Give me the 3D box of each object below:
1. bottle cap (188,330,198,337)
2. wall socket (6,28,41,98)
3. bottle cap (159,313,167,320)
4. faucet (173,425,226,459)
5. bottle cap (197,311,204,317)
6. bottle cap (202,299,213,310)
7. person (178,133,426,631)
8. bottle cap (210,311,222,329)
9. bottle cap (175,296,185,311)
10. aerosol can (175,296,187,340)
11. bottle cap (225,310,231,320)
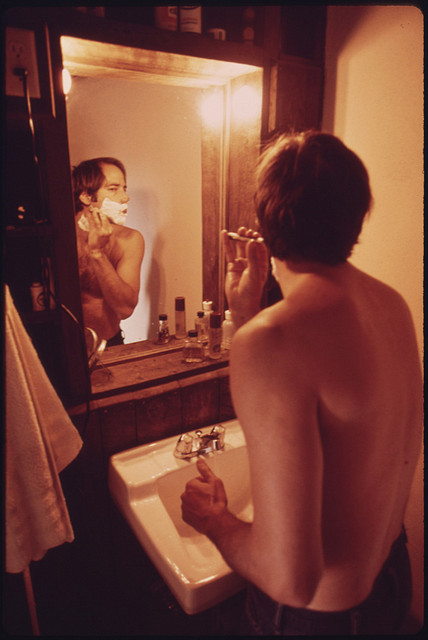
[{"bbox_3d":[-0.057,0.037,1.418,0.022,0.025,0.045,-2,14,-1],"label":"bottle cap"},{"bbox_3d":[-0.342,-0.457,0.925,0.019,0.111,0.070,7,16,32],"label":"wall socket"},{"bbox_3d":[-0.138,-0.011,1.402,0.007,0.019,0.026,7,16,33],"label":"bottle cap"},{"bbox_3d":[-0.036,0.308,1.310,0.149,0.043,0.057,-10,16,-31],"label":"faucet"},{"bbox_3d":[-0.038,-0.017,1.453,0.012,0.012,0.012,3,4,45],"label":"bottle cap"},{"bbox_3d":[-0.020,-0.047,1.508,0.025,0.041,0.025,-7,14,-26],"label":"bottle cap"},{"bbox_3d":[0.155,0.162,0.777,0.406,0.841,0.277,-3,13,-5],"label":"person"},{"bbox_3d":[0.003,0.000,1.424,0.036,0.045,0.038,0,7,-4],"label":"bottle cap"},{"bbox_3d":[-0.093,-0.046,1.429,0.031,0.038,0.033,1,18,-1],"label":"bottle cap"},{"bbox_3d":[-0.097,0.002,1.464,0.031,0.118,0.034,1,-16,-13],"label":"aerosol can"},{"bbox_3d":[0.039,-0.017,1.501,0.021,0.026,0.021,2,-4,-43],"label":"bottle cap"}]
